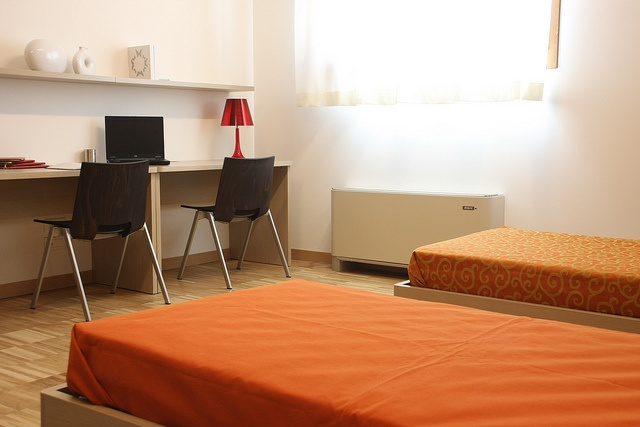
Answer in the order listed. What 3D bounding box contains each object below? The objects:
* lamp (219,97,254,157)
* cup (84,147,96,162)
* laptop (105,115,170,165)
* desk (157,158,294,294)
[{"bbox_3d":[-0.809,-0.841,4.216,0.299,0.583,0.608,-3,9,-12],"label":"lamp"},{"bbox_3d":[-1.863,-0.478,3.522,0.096,0.103,0.147,-6,10,-27],"label":"cup"},{"bbox_3d":[-1.546,-0.624,3.625,0.457,0.376,0.238,-5,10,-23],"label":"laptop"},{"bbox_3d":[-0.690,0.020,4.198,1.113,1.490,1.004,6,6,35],"label":"desk"}]
